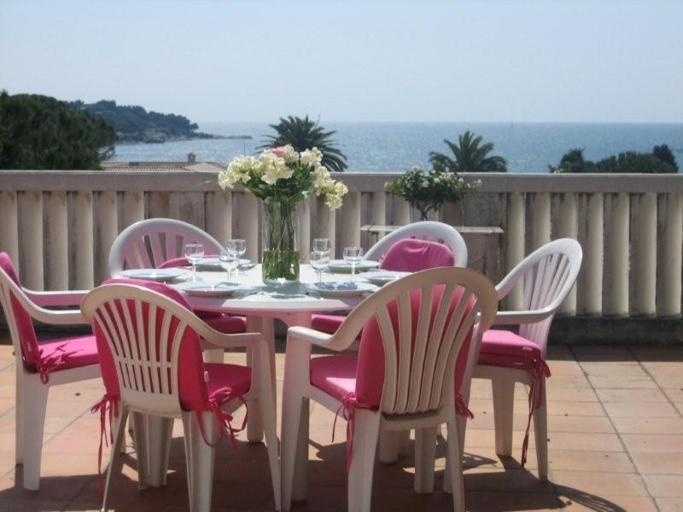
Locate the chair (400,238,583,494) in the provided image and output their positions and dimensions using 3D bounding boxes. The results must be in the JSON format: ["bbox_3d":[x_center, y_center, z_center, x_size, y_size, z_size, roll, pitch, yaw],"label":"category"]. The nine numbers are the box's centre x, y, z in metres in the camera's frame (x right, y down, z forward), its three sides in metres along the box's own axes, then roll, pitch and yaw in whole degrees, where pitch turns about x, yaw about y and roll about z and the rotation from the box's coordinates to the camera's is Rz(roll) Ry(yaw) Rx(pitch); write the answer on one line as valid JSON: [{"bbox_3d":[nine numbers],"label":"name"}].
[{"bbox_3d":[0.823,0.525,5.084,0.864,1.255,0.909,2,6,1],"label":"chair"}]

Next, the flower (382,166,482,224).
[{"bbox_3d":[0.660,-0.448,6.738,0.684,0.399,0.435,0,9,3],"label":"flower"}]

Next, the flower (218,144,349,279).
[{"bbox_3d":[-0.331,-0.220,5.121,0.588,0.763,0.607,-2,3,-14],"label":"flower"}]

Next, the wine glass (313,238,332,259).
[{"bbox_3d":[-0.106,-0.039,4.908,0.087,0.167,0.102,0,-1,-8],"label":"wine glass"}]

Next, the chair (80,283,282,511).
[{"bbox_3d":[-0.807,0.529,4.783,0.875,1.552,1.030,3,7,20],"label":"chair"}]
